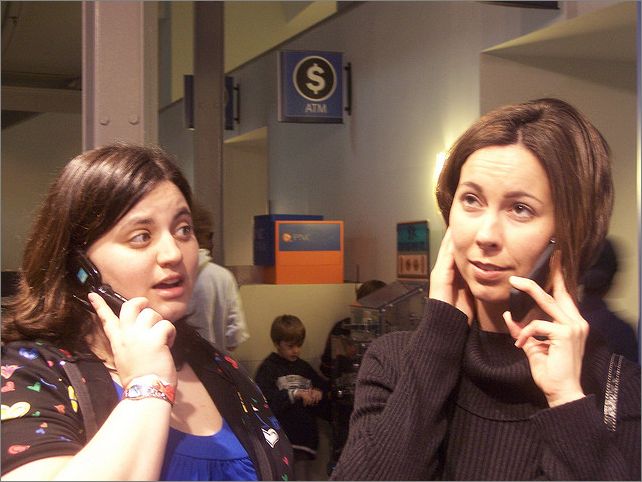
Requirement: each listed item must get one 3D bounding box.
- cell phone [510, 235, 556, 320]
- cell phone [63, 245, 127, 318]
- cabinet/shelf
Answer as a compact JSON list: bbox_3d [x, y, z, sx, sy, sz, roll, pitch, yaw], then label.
[{"bbox_3d":[0.496,0.081,1.308,0.060,0.175,0.125,31,25,11],"label":"cell phone"},{"bbox_3d":[-0.490,0.072,1.207,0.034,0.141,0.142,-43,-10,-37],"label":"cell phone"},{"bbox_3d":[0.355,0.473,3.457,0.320,0.432,0.318,-16,25,-10],"label":"cabinet/shelf"}]
